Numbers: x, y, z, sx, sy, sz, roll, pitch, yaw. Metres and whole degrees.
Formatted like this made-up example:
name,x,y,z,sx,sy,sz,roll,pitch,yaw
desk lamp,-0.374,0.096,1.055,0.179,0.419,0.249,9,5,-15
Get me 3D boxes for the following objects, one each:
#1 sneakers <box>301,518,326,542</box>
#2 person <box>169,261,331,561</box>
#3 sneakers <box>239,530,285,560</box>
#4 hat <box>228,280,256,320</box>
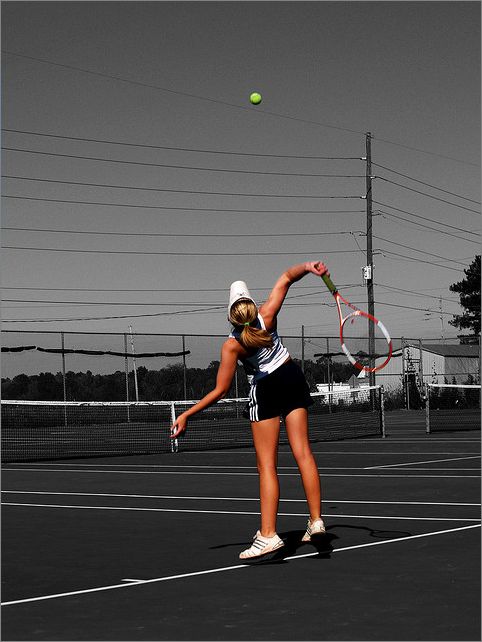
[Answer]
name,x,y,z,sx,sy,sz,roll,pitch,yaw
sneakers,0.526,1.526,3.910,0.098,0.179,0.340,4,-26,-8
person,0.157,0.610,3.742,0.954,2.116,0.656,-1,-3,-5
sneakers,0.125,1.537,3.651,0.274,0.216,0.250,-1,-4,-15
hat,-0.010,-0.146,3.607,0.145,0.266,0.346,-1,-4,0
